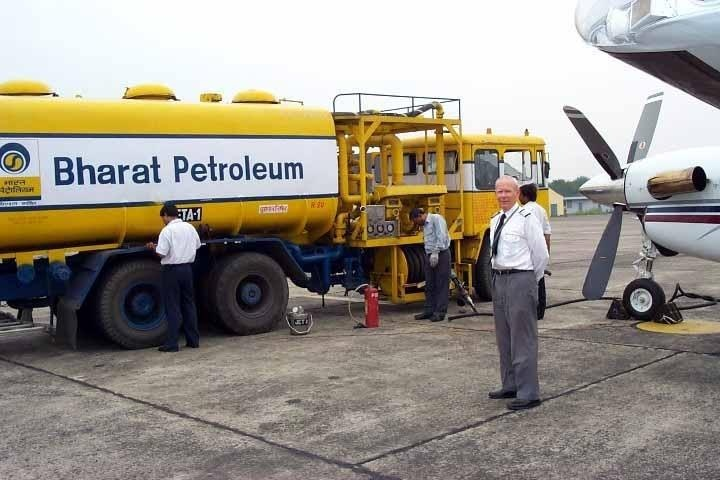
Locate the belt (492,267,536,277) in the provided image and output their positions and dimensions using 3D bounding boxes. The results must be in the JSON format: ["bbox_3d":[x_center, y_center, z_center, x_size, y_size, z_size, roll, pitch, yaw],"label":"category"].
[{"bbox_3d":[1.683,0.357,5.806,0.410,0.080,0.111,0,4,18],"label":"belt"}]

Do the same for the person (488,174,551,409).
[{"bbox_3d":[1.706,0.558,5.837,0.615,2.523,0.505,0,5,28],"label":"person"}]

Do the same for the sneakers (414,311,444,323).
[{"bbox_3d":[1.333,1.478,10.204,0.565,0.229,0.201,3,-2,9],"label":"sneakers"}]

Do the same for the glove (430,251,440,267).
[{"bbox_3d":[1.403,0.362,10.129,0.237,0.227,0.194,6,8,43],"label":"glove"}]

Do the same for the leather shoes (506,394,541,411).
[{"bbox_3d":[1.786,1.787,5.793,0.342,0.138,0.130,4,-3,-17],"label":"leather shoes"}]

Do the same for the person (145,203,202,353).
[{"bbox_3d":[-2.886,0.594,8.427,0.678,2.342,0.618,-3,5,-21],"label":"person"}]

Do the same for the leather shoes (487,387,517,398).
[{"bbox_3d":[1.631,1.747,6.081,0.285,0.115,0.120,3,-1,2],"label":"leather shoes"}]

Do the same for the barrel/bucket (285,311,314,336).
[{"bbox_3d":[-1.075,1.466,9.412,0.506,0.353,0.388,2,-6,-28],"label":"barrel/bucket"}]

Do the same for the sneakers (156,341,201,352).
[{"bbox_3d":[-2.895,1.724,8.480,0.647,0.258,0.209,4,-2,-16],"label":"sneakers"}]
